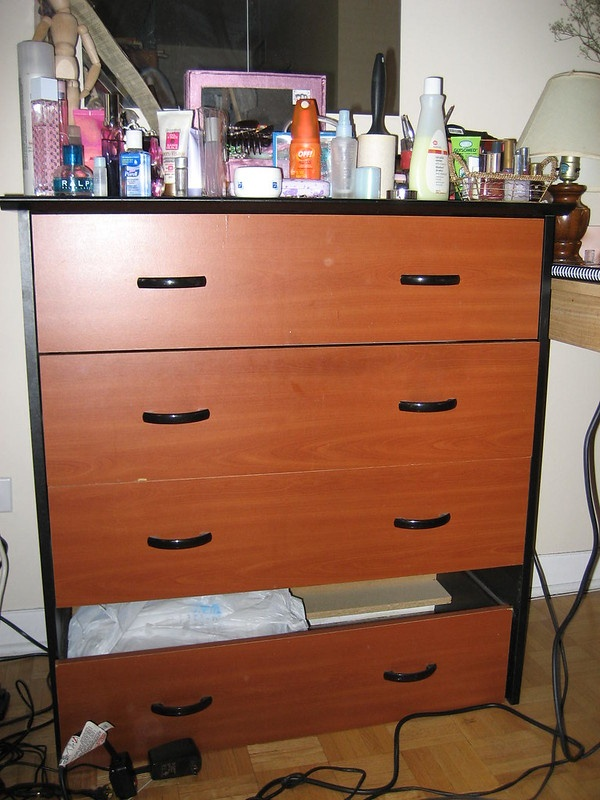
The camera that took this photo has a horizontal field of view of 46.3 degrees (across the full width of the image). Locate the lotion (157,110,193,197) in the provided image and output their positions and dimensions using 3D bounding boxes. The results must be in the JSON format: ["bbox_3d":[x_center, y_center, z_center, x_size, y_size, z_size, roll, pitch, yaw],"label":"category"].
[{"bbox_3d":[-0.215,-0.419,1.188,0.065,0.136,0.063,2,17,8],"label":"lotion"}]

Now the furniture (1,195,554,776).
[{"bbox_3d":[-0.023,0.143,1.167,1.062,0.961,0.385,-2,12,-10],"label":"furniture"}]

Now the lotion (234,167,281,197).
[{"bbox_3d":[-0.066,-0.332,1.067,0.058,0.033,0.055,-1,19,-6],"label":"lotion"}]

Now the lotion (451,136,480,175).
[{"bbox_3d":[0.339,-0.515,1.456,0.061,0.078,0.125,3,16,11],"label":"lotion"}]

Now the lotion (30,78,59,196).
[{"bbox_3d":[-0.426,-0.442,1.172,0.053,0.184,0.036,-4,17,-13],"label":"lotion"}]

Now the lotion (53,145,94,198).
[{"bbox_3d":[-0.353,-0.358,1.084,0.055,0.073,0.048,-5,17,-18],"label":"lotion"}]

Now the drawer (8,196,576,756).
[{"bbox_3d":[-0.010,0.127,1.169,1.056,0.955,0.383,-2,12,-10],"label":"drawer"}]

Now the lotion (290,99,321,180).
[{"bbox_3d":[0.008,-0.456,1.221,0.050,0.135,0.090,0,16,-1],"label":"lotion"}]

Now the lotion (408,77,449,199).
[{"bbox_3d":[0.220,-0.448,1.188,0.068,0.209,0.161,3,16,10],"label":"lotion"}]
